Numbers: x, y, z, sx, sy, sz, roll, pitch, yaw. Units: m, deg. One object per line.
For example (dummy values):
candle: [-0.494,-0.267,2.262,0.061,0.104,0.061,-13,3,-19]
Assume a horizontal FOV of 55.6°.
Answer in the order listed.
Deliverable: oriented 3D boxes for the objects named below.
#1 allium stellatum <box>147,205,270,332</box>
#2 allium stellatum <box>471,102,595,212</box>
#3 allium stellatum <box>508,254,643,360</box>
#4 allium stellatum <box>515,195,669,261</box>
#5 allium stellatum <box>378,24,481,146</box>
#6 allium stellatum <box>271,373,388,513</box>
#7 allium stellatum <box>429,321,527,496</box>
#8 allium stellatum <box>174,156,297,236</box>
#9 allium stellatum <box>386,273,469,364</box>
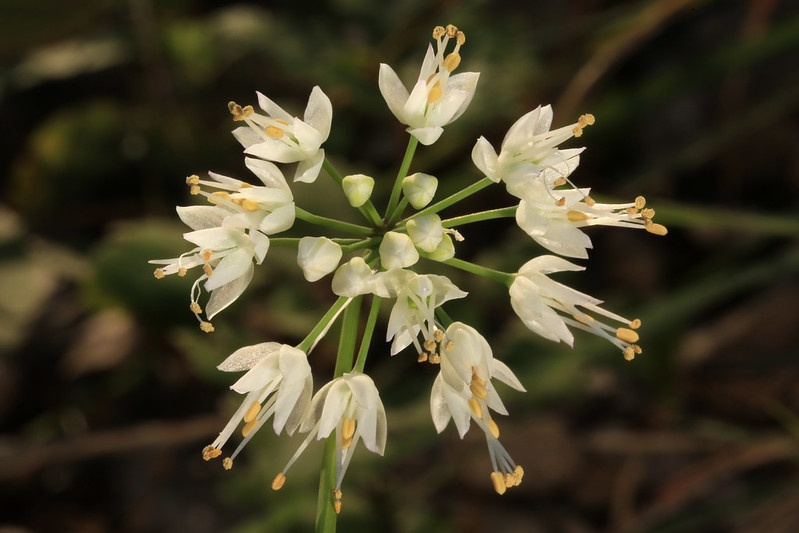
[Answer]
allium stellatum: [-1.047,-0.059,4.259,0.682,0.281,0.650,-22,-86,23]
allium stellatum: [0.700,-0.635,4.148,0.581,0.292,0.526,15,-82,-5]
allium stellatum: [0.958,0.211,4.157,0.733,0.460,0.402,22,-67,9]
allium stellatum: [1.014,-0.233,4.183,0.543,0.449,0.184,17,-84,-2]
allium stellatum: [0.149,-1.046,4.294,0.525,0.578,0.702,9,-89,0]
allium stellatum: [-0.299,0.870,4.103,0.454,0.245,0.594,42,-85,-9]
allium stellatum: [0.397,0.703,4.290,0.518,0.442,0.958,-20,-87,-13]
allium stellatum: [-0.798,-0.353,4.071,0.413,0.161,0.415,-22,-80,1]
allium stellatum: [0.063,0.238,4.083,0.391,0.413,0.234,-5,-79,-26]
